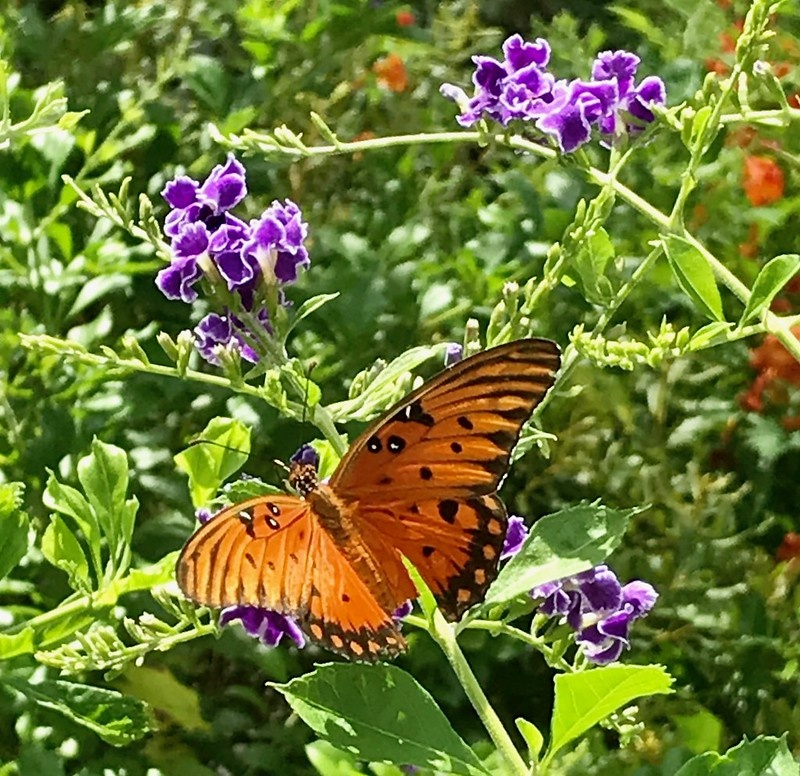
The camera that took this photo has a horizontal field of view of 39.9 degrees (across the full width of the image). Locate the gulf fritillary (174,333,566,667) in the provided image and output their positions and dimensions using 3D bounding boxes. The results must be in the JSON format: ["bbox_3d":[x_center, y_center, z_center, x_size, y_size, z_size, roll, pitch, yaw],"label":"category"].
[{"bbox_3d":[-0.028,0.169,1.390,0.555,0.374,0.173,-13,40,9],"label":"gulf fritillary"}]
